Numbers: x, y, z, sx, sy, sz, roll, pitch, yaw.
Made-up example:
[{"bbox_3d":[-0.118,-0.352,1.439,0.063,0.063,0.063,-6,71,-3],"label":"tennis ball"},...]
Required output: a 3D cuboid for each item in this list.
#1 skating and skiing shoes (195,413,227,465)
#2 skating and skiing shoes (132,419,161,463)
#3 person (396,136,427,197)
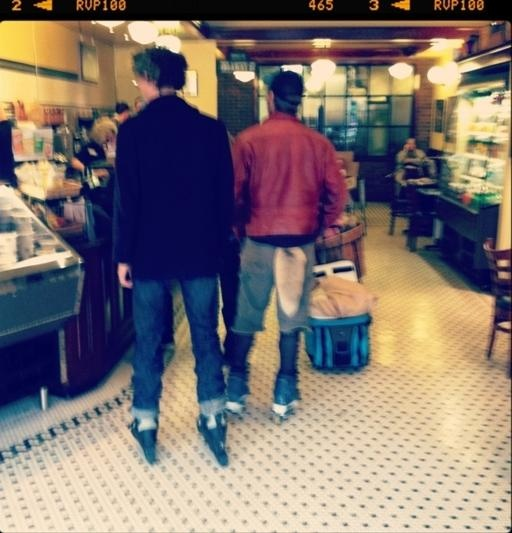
[{"bbox_3d":[-0.193,0.798,2.194,0.138,0.174,0.370,-1,15,-3],"label":"skating and skiing shoes"},{"bbox_3d":[-0.514,0.802,2.191,0.084,0.106,0.249,2,29,-20],"label":"skating and skiing shoes"},{"bbox_3d":[2.867,-1.921,8.766,0.550,1.071,2.031,4,11,18],"label":"person"}]
